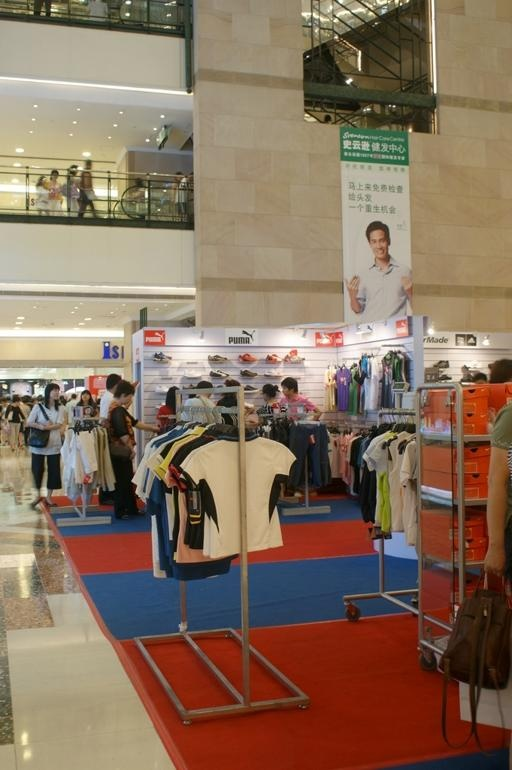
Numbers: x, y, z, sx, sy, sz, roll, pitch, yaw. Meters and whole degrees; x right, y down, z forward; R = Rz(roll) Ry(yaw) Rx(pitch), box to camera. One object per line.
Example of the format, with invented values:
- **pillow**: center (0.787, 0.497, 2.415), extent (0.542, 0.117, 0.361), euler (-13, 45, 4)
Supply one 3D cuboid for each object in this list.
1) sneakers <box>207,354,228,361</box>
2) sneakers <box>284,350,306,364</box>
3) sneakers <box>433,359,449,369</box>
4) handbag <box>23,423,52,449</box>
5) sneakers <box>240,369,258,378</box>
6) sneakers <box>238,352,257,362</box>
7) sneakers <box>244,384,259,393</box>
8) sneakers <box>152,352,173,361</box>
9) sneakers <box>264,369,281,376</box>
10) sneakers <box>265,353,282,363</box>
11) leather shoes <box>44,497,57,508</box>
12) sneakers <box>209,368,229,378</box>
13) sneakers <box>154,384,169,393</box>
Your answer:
- **sneakers**: center (-0.675, -0.479, 11.437), extent (0.217, 0.102, 0.137), euler (1, -3, -10)
- **sneakers**: center (0.666, -0.475, 11.558), extent (0.391, 0.276, 0.204), euler (-3, 7, 2)
- **sneakers**: center (2.195, -0.237, 7.662), extent (0.110, 0.055, 0.106), euler (-7, 11, -38)
- **handbag**: center (-2.848, 0.697, 8.442), extent (0.342, 0.278, 0.180), euler (2, 8, 35)
- **sneakers**: center (-0.131, -0.198, 11.430), extent (0.330, 0.153, 0.116), euler (5, -1, -12)
- **sneakers**: center (-0.154, -0.475, 11.433), extent (0.122, 0.149, 0.339), euler (10, 3, 31)
- **sneakers**: center (-0.086, 0.078, 11.351), extent (0.105, 0.122, 0.294), euler (20, 6, 32)
- **sneakers**: center (-1.672, -0.482, 11.449), extent (0.150, 0.132, 0.366), euler (-2, -2, 32)
- **sneakers**: center (0.288, -0.214, 11.474), extent (0.209, 0.096, 0.116), euler (-1, -4, 45)
- **sneakers**: center (0.304, -0.446, 11.518), extent (0.281, 0.190, 0.217), euler (-3, 7, 1)
- **leather shoes**: center (-2.886, 1.651, 9.125), extent (0.104, 0.148, 0.353), euler (1, -7, -21)
- **sneakers**: center (-0.656, -0.197, 11.395), extent (0.330, 0.154, 0.124), euler (3, -1, -12)
- **sneakers**: center (-1.672, 0.057, 11.541), extent (0.298, 0.129, 0.105), euler (-1, -3, 13)
